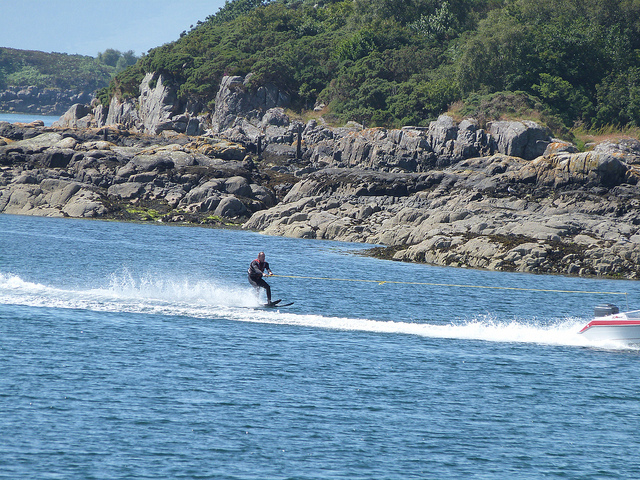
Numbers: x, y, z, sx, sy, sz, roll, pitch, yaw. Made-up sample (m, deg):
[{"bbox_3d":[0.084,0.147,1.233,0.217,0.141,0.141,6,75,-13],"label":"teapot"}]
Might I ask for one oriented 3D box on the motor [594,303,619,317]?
[{"bbox_3d":[25.201,6.182,116.498,1.828,0.870,1.625,2,4,23],"label":"motor"}]
